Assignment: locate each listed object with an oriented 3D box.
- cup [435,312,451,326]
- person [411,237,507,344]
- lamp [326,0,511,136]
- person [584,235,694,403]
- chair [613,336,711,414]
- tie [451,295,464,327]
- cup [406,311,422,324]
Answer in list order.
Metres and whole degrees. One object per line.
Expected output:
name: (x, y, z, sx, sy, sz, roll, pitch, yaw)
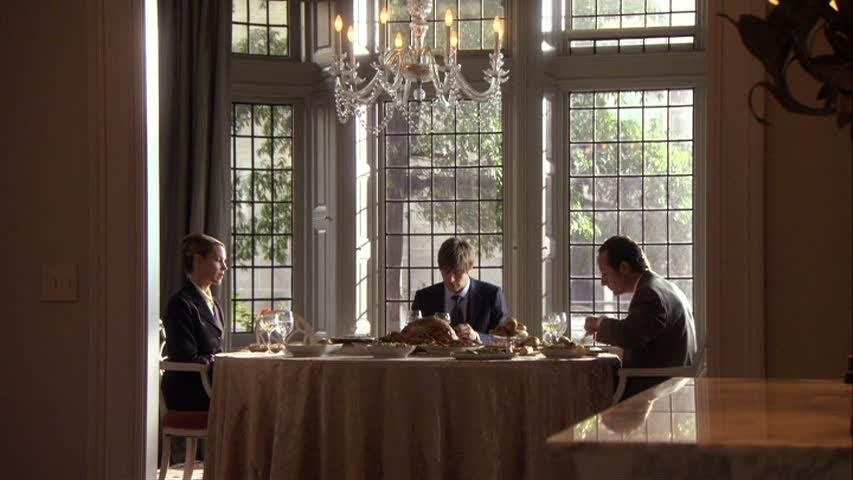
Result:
cup: (0.123, 0.537, 5.632, 0.095, 0.102, 0.098, 0, 0, 0)
person: (0.298, 0.375, 6.492, 0.794, 1.331, 0.703, -1, -13, 6)
lamp: (-0.074, -1.229, 6.366, 1.385, 1.205, 1.381, 1, -6, -4)
person: (1.448, 0.675, 5.575, 0.635, 1.359, 0.669, -1, 5, 23)
chair: (1.539, 0.873, 5.415, 0.507, 0.788, 0.473, 2, -10, 9)
tie: (0.247, 0.567, 6.557, 0.114, 0.223, 0.048, -4, -7, 30)
cup: (-0.076, 0.541, 5.722, 0.080, 0.086, 0.086, -1, -1, 0)
